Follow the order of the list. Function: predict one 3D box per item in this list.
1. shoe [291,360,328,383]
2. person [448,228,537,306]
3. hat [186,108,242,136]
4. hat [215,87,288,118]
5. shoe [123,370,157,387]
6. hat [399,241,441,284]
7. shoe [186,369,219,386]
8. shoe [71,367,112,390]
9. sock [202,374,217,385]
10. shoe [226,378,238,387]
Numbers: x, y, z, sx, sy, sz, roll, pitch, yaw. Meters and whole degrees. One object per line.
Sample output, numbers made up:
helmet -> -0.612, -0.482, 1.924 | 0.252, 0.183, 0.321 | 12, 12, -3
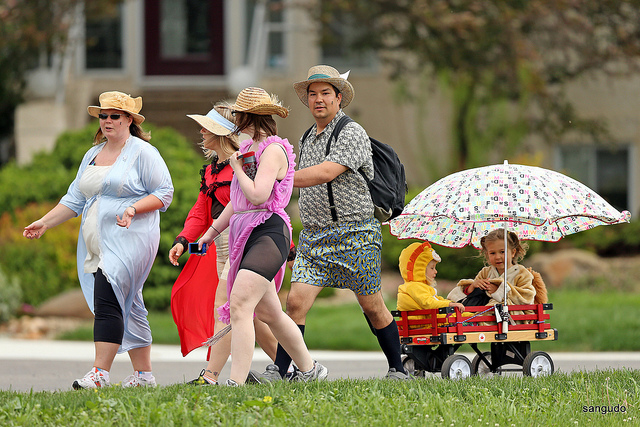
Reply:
shoe -> -0.135, 2.435, 22.988 | 0.600, 0.308, 0.226 | -12, 2, -26
person -> 2.834, 1.007, 24.183 | 1.397, 1.617, 1.001 | -1, 0, 34
hat -> -1.651, -1.438, 23.221 | 0.992, 0.725, 0.396 | -1, -3, -13
hat -> -1.023, -1.803, 23.095 | 1.079, 0.474, 1.055 | 1, 13, 7
shoe -> -2.798, 2.572, 23.239 | 0.634, 0.313, 0.229 | 4, -11, -16
hat -> 1.626, 0.750, 23.795 | 0.623, 0.424, 0.230 | 1, 1, 3
shoe -> -1.863, 2.503, 22.879 | 0.356, 0.211, 0.712 | 1, 2, -5
shoe -> -3.488, 2.499, 22.784 | 0.673, 0.379, 0.276 | 6, -5, -21
sock -> -1.686, 2.528, 22.917 | 0.127, 0.045, 0.126 | 35, 3, 30
shoe -> -1.323, 2.539, 22.575 | 0.085, 0.108, 0.148 | 19, -9, -36
